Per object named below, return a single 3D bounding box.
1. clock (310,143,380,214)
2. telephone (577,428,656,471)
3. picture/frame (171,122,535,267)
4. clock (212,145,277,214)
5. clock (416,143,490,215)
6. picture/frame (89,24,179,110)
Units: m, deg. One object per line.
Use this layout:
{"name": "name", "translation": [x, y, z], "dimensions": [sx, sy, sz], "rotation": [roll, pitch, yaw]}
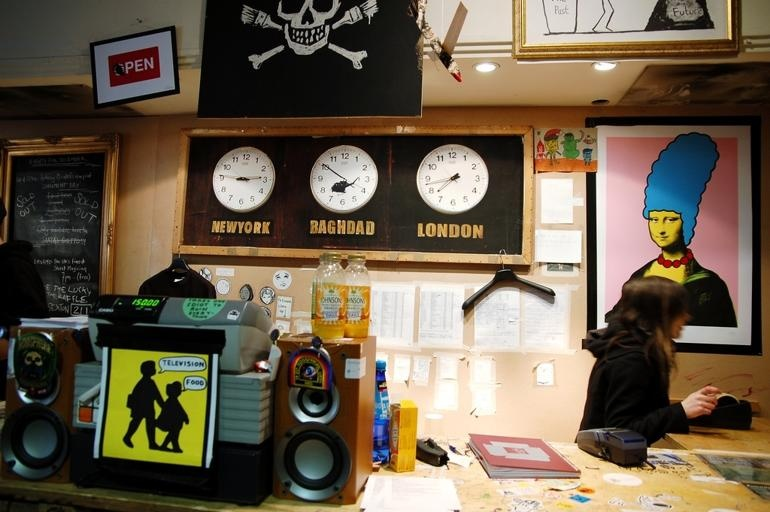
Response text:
{"name": "clock", "translation": [-0.258, -0.518, 4.384], "dimensions": [0.438, 0.437, 0.046], "rotation": [-7, 4, 2]}
{"name": "telephone", "translation": [1.179, 1.003, 3.350], "dimensions": [0.161, 0.081, 0.267], "rotation": [5, -3, -19]}
{"name": "picture/frame", "translation": [-0.262, -0.433, 4.408], "dimensions": [2.486, 0.955, 0.055], "rotation": [2, -9, 8]}
{"name": "clock", "translation": [-0.967, -0.521, 4.470], "dimensions": [0.464, 0.465, 0.068], "rotation": [2, -4, 12]}
{"name": "clock", "translation": [0.478, -0.503, 4.313], "dimensions": [0.472, 0.472, 0.062], "rotation": [1, -4, 5]}
{"name": "picture/frame", "translation": [-1.476, -1.130, 3.729], "dimensions": [0.542, 0.411, 0.053], "rotation": [-10, -15, 0]}
